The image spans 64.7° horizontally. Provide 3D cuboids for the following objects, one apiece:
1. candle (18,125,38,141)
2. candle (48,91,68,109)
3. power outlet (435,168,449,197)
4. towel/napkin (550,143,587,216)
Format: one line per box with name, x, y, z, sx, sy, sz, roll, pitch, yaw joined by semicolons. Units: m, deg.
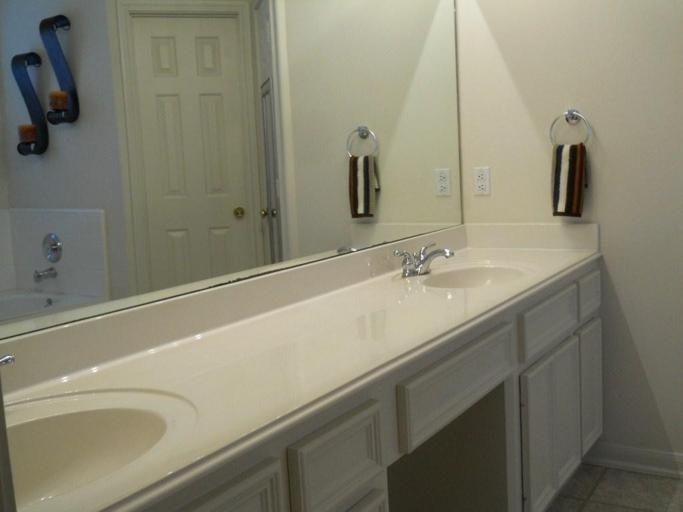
candle;-0.691;-0.267;1.181;0.010;0.040;0.039;5;15;29
candle;-0.647;-0.351;1.227;0.008;0.041;0.048;3;14;21
power outlet;0.459;-0.340;2.476;0.104;0.161;0.014;-9;13;-36
towel/napkin;0.967;-0.318;2.294;0.132;0.295;0.065;3;14;24
